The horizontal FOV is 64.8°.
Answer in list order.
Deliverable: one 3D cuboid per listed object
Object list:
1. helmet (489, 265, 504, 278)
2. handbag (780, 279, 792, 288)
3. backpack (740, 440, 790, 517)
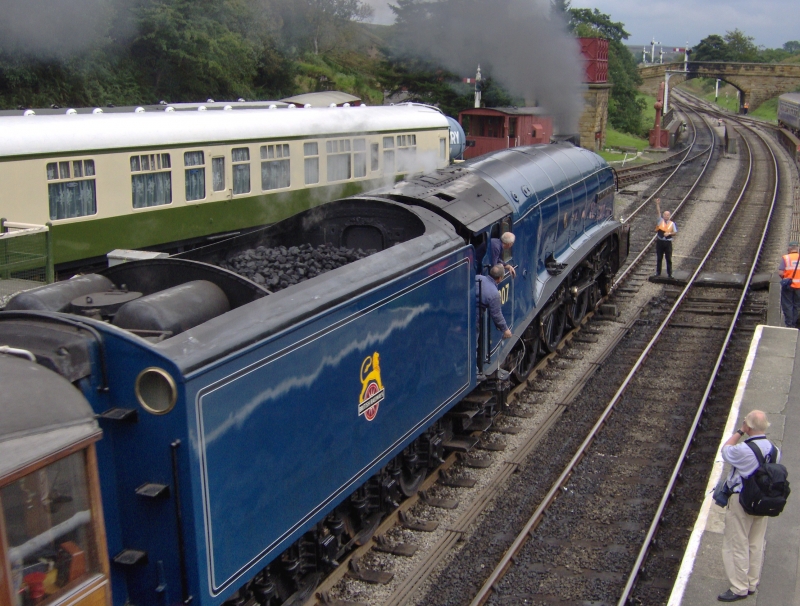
[{"bbox_3d":[1.340,-0.418,8.600,0.142,0.180,0.213,11,-3,19],"label":"helmet"},{"bbox_3d":[8.324,-0.404,13.552,0.138,0.142,0.243,4,-13,20],"label":"handbag"},{"bbox_3d":[3.356,1.633,5.768,0.389,0.736,0.212,-1,16,-1],"label":"backpack"}]
